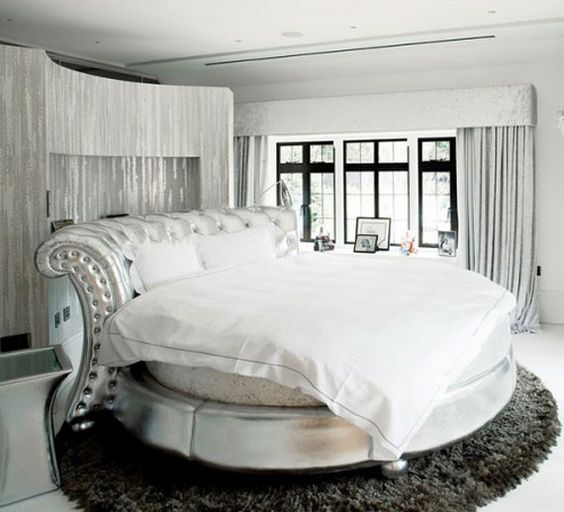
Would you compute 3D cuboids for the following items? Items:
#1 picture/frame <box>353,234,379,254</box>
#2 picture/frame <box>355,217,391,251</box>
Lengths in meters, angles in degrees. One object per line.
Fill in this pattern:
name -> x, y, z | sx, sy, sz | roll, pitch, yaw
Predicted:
picture/frame -> 0.977, -0.129, 5.147 | 0.203, 0.280, 0.026 | -1, -26, 6
picture/frame -> 1.062, -0.239, 5.187 | 0.312, 0.346, 0.013 | 5, -8, 31
